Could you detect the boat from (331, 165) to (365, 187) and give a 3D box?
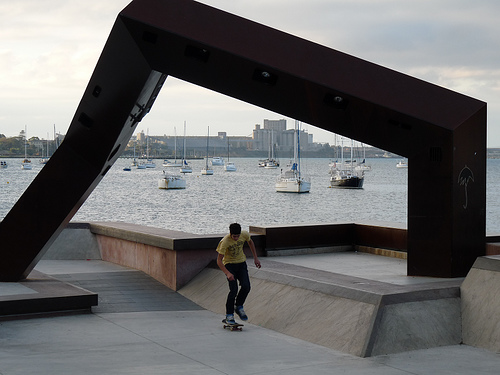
[{"bbox_3d":[20.812,-2.158,113.323,4.005,4.402,11.534,-5,-3,-11],"label":"boat"}]

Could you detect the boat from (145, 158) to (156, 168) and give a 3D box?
[{"bbox_3d":[-32.666,-7.747,180.879,2.386,1.700,4.572,-3,10,-8],"label":"boat"}]

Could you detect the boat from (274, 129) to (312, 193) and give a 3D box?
[{"bbox_3d":[7.000,-3.125,87.117,4.298,8.575,9.315,-4,6,-9],"label":"boat"}]

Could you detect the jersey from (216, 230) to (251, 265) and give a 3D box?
[{"bbox_3d":[-0.255,1.034,9.297,0.566,0.557,0.317,-4,5,-7],"label":"jersey"}]

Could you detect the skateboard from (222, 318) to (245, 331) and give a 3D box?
[{"bbox_3d":[-0.297,2.347,9.327,0.287,0.095,0.176,4,0,30],"label":"skateboard"}]

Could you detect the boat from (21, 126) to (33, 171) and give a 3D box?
[{"bbox_3d":[-64.800,-9.522,158.702,2.311,7.945,32.078,-5,6,-22],"label":"boat"}]

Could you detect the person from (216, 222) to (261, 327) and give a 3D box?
[{"bbox_3d":[-0.211,1.503,9.371,0.521,1.881,0.761,-1,6,25],"label":"person"}]

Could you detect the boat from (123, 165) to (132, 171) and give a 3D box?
[{"bbox_3d":[-39.039,-5.931,175.154,2.283,1.587,2.488,1,1,40],"label":"boat"}]

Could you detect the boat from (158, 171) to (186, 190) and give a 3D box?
[{"bbox_3d":[-13.773,-0.490,97.637,4.845,2.061,5.831,-4,6,-9],"label":"boat"}]

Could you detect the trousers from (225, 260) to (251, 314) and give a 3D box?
[{"bbox_3d":[-0.208,1.717,9.439,0.421,0.881,0.439,-1,11,-27],"label":"trousers"}]
